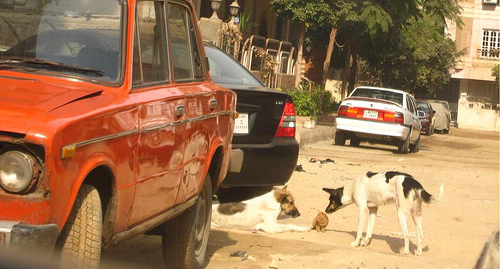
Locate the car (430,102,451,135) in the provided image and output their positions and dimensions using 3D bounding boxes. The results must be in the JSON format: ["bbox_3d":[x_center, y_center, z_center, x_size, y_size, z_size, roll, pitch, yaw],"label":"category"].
[{"bbox_3d":[15.012,-1.212,38.035,1.539,2.263,3.119,7,7,20],"label":"car"}]

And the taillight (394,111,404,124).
[{"bbox_3d":[5.394,-0.601,17.432,0.353,0.438,0.087,4,6,-11],"label":"taillight"}]

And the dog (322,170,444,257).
[{"bbox_3d":[2.099,1.242,7.781,0.608,1.213,2.172,7,-8,-37],"label":"dog"}]

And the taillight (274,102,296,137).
[{"bbox_3d":[0.568,-0.252,8.052,0.358,0.593,0.094,1,3,-9],"label":"taillight"}]

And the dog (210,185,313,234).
[{"bbox_3d":[-0.040,1.321,7.995,1.931,0.842,0.647,-1,-23,3],"label":"dog"}]

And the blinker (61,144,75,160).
[{"bbox_3d":[-1.457,0.142,3.839,0.032,0.114,0.120,9,7,30],"label":"blinker"}]

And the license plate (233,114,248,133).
[{"bbox_3d":[-0.163,-0.161,7.490,0.296,0.314,0.034,3,-1,2],"label":"license plate"}]

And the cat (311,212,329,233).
[{"bbox_3d":[1.156,1.407,7.875,0.196,0.231,0.367,3,-4,6],"label":"cat"}]

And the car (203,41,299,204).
[{"bbox_3d":[0.170,-0.081,7.810,1.371,1.218,2.952,-2,7,-15],"label":"car"}]

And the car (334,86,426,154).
[{"bbox_3d":[5.458,-0.520,19.853,2.894,1.987,5.189,8,1,25],"label":"car"}]
